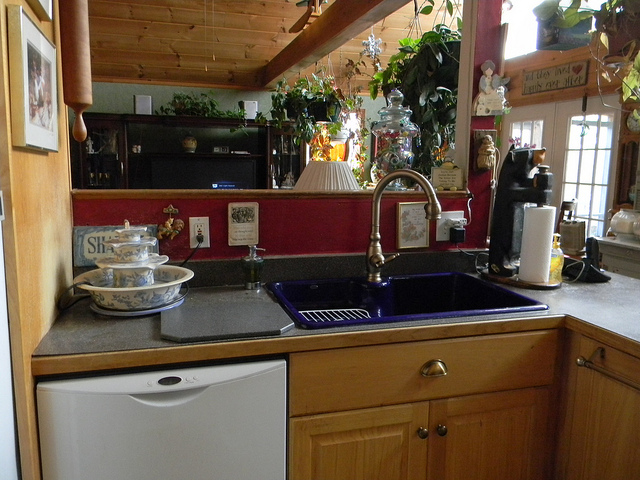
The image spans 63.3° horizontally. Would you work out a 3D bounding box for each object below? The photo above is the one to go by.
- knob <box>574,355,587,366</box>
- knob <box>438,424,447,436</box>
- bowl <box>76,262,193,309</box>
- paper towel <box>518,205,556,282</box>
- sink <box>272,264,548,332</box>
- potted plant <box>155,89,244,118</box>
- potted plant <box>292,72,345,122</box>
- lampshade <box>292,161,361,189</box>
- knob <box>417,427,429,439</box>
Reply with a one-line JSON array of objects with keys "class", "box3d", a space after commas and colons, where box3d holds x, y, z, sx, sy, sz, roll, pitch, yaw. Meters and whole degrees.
[{"class": "knob", "box3d": [0.855, 0.395, 1.693, 0.029, 0.024, 0.023, 8, -5, -1]}, {"class": "knob", "box3d": [0.400, 0.617, 1.680, 0.029, 0.035, 0.017, 2, 10, 9]}, {"class": "bowl", "box3d": [-0.612, 0.157, 1.768, 0.291, 0.064, 0.289, 2, 16, -1]}, {"class": "paper towel", "box3d": [0.866, 0.011, 2.059, 0.116, 0.293, 0.131, 5, 11, 26]}, {"class": "sink", "box3d": [0.313, 0.240, 1.953, 0.922, 0.208, 0.556, -2, 10, -14]}, {"class": "potted plant", "box3d": [-1.622, -1.761, 6.717, 0.765, 0.266, 0.604, -8, 22, -38]}, {"class": "potted plant", "box3d": [-0.012, -0.853, 3.125, 0.301, 0.287, 0.385, 0, 10, -3]}, {"class": "lampshade", "box3d": [0.039, -0.305, 2.487, 0.197, 0.086, 0.196, -3, 6, -27]}, {"class": "knob", "box3d": [0.332, 0.618, 1.664, 0.025, 0.018, 0.039, -1, 0, -3]}]
